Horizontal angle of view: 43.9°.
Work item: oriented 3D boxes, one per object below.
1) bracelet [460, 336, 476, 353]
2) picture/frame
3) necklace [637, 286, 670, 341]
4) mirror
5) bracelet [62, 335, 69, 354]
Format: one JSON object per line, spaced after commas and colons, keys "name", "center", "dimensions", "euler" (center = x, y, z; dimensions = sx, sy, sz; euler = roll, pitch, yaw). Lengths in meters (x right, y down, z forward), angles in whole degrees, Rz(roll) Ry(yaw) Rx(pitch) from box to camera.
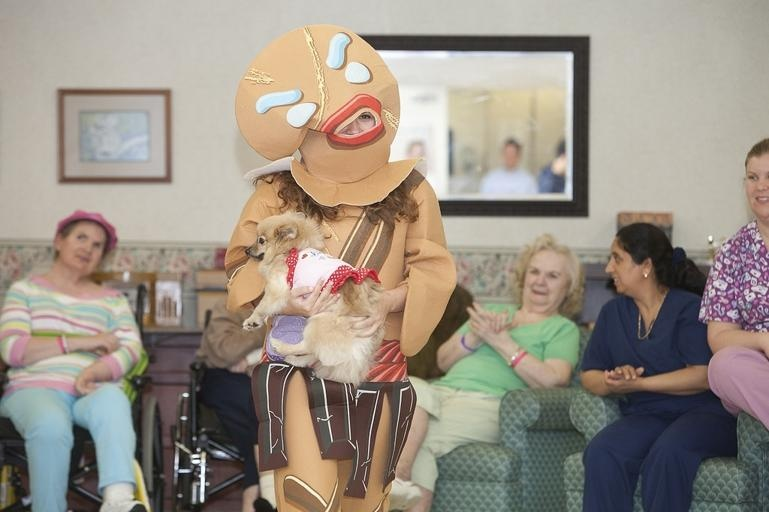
{"name": "bracelet", "center": [0.570, 0.620, 6.603], "dimensions": [0.026, 0.108, 0.111], "euler": [-21, 1, 6]}
{"name": "picture/frame", "center": [-2.108, -0.944, 7.444], "dimensions": [0.724, 0.650, 0.060], "euler": [-1, 3, 2]}
{"name": "necklace", "center": [1.731, 0.380, 6.124], "dimensions": [0.064, 0.310, 0.170], "euler": [19, -7, -37]}
{"name": "mirror", "center": [0.708, -0.956, 6.859], "dimensions": [1.500, 1.123, 0.063], "euler": [0, -1, -1]}
{"name": "bracelet", "center": [-2.135, 0.590, 6.316], "dimensions": [0.024, 0.090, 0.087], "euler": [-9, -10, -2]}
